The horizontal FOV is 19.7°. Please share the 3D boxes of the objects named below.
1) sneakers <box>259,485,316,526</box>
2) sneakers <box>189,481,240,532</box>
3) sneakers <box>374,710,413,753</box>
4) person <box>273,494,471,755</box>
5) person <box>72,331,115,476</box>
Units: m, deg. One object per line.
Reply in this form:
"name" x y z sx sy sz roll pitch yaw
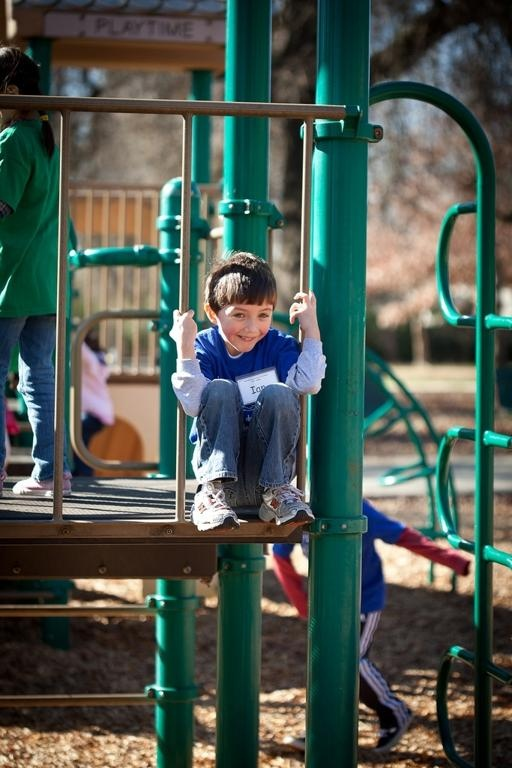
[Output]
"sneakers" 0.083 0.353 4.267 0.152 0.121 0.148 0 1 0
"sneakers" -0.120 0.358 4.214 0.109 0.148 0.180 0 1 -14
"sneakers" 0.474 1.222 5.205 0.056 0.166 0.105 28 -8 -18
"person" 0.403 0.863 5.105 0.381 0.925 1.002 -1 1 -31
"person" -0.862 0.105 7.806 0.208 0.752 1.052 0 1 -6
